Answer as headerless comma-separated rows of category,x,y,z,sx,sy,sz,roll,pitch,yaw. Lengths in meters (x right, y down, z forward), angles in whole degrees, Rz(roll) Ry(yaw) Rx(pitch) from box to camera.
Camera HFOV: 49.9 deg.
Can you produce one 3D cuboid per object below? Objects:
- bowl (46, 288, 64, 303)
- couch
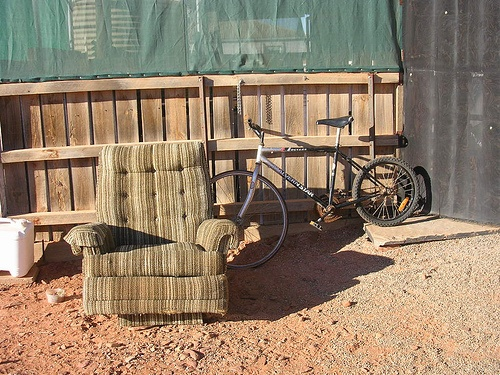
bowl,-1.941,1.070,5.357,0.196,0.108,0.203,-5,12,1
couch,-0.938,0.373,5.191,1.376,1.692,1.455,-1,4,-14
